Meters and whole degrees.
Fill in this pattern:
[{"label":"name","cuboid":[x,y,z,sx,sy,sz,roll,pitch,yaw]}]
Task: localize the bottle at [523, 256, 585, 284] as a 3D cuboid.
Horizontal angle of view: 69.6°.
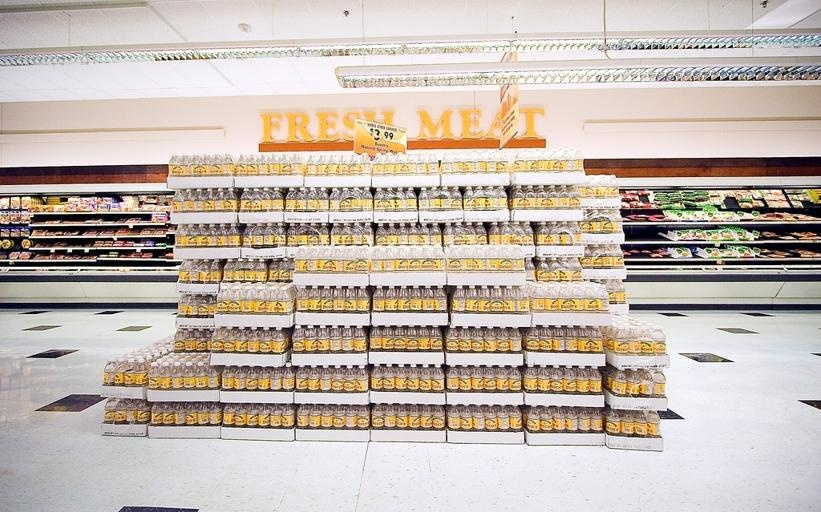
[{"label":"bottle","cuboid":[1.860,0.183,7.682,0.553,0.208,0.440,0,-6,0]}]
